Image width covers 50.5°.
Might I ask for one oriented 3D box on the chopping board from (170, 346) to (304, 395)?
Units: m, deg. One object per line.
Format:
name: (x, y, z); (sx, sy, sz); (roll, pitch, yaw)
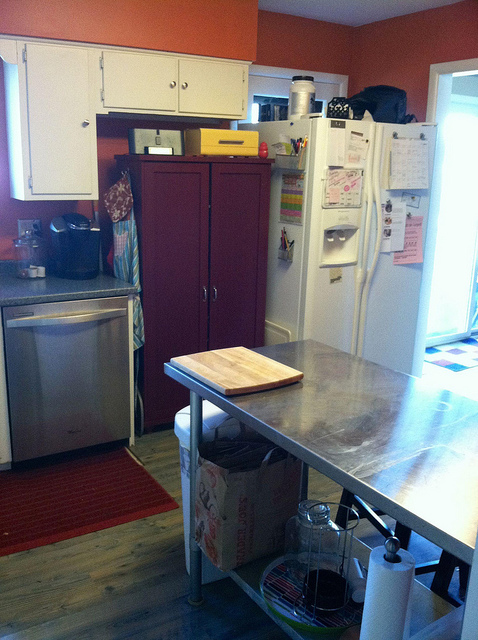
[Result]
chopping board: (-0.011, 0.142, 1.484); (0.286, 0.040, 0.359); (-8, 15, -32)

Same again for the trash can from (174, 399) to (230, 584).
trash can: (-0.130, 0.609, 1.801); (0.185, 0.807, 0.362); (0, 11, -2)

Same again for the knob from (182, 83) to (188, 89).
knob: (-0.316, -1.358, 2.958); (0.024, 0.021, 0.026); (5, 17, 14)

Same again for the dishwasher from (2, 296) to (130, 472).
dishwasher: (-0.934, 0.261, 3.044); (0.690, 1.093, 0.806); (-5, 11, -28)

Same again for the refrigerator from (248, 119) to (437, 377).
refrigerator: (0.770, -0.417, 3.375); (1.091, 1.722, 0.483); (-3, 11, -18)

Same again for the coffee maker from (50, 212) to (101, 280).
coffee maker: (-0.924, -0.430, 2.909); (0.287, 0.411, 0.363); (-10, 18, -37)

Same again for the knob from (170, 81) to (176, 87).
knob: (-0.379, -1.354, 2.927); (0.024, 0.024, 0.026); (37, 63, 24)
